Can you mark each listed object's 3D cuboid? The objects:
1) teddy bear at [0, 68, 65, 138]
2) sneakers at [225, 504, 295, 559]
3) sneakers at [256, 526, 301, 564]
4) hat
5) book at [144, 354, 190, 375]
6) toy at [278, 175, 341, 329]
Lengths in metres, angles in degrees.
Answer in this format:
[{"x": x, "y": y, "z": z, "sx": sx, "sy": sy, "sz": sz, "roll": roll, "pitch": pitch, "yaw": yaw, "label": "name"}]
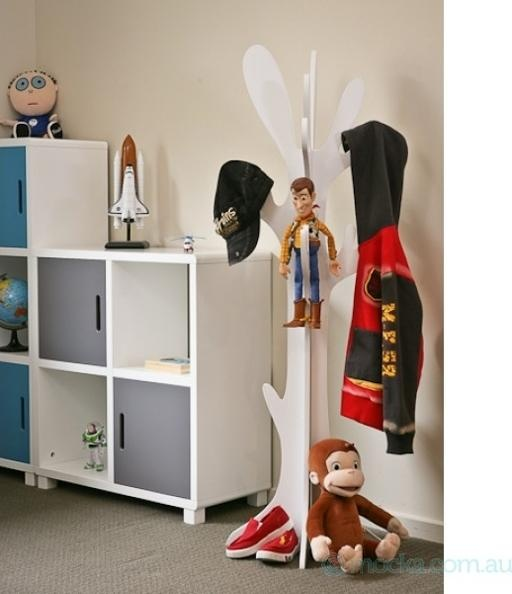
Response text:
[{"x": -1.096, "y": -0.930, "z": 3.123, "sx": 0.299, "sy": 0.341, "sz": 0.169, "roll": 0, "pitch": 1, "yaw": -10, "label": "teddy bear"}, {"x": 0.019, "y": 0.730, "z": 1.980, "sx": 0.096, "sy": 0.123, "sz": 0.276, "roll": -4, "pitch": -5, "yaw": 27, "label": "sneakers"}, {"x": 0.066, "y": 0.755, "z": 1.959, "sx": 0.056, "sy": 0.069, "sz": 0.151, "roll": -2, "pitch": -8, "yaw": 26, "label": "sneakers"}, {"x": -0.041, "y": -0.262, "z": 1.989, "sx": 0.176, "sy": 0.313, "sz": 0.065, "roll": 0, "pitch": 0, "yaw": -4, "label": "hat"}, {"x": -0.319, "y": 0.249, "z": 2.386, "sx": 0.266, "sy": 0.044, "sz": 0.169, "roll": 0, "pitch": 2, "yaw": 27, "label": "book"}, {"x": 0.156, "y": -0.130, "z": 1.980, "sx": 0.174, "sy": 0.462, "sz": 0.204, "roll": 0, "pitch": 1, "yaw": -16, "label": "toy"}]
